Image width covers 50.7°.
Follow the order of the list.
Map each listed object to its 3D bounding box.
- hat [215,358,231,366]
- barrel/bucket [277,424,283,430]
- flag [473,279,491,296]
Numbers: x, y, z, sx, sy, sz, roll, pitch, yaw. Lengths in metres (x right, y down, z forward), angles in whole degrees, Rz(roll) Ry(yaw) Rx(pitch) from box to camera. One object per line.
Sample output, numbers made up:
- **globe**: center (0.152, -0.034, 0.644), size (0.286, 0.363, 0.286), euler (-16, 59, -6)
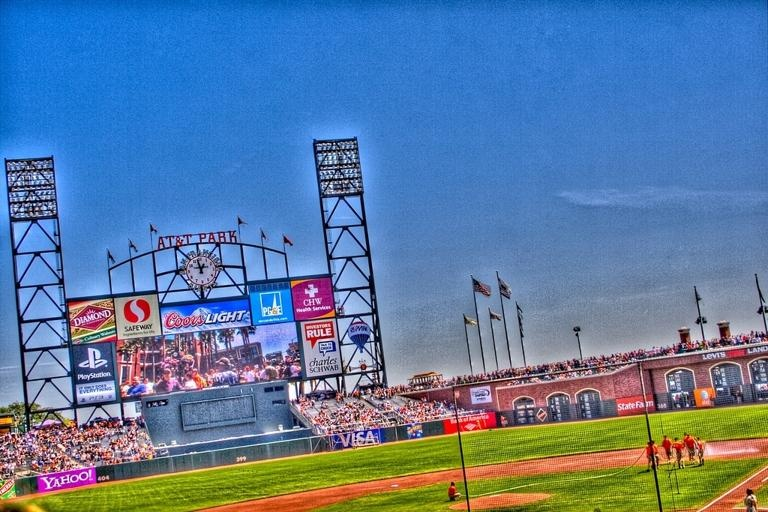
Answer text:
- **hat**: center (-13.535, 9.022, 68.765), size (0.907, 0.639, 0.640), euler (-4, 4, -2)
- **barrel/bucket**: center (-8.765, 14.581, 68.781), size (0.396, 0.640, 0.385), euler (-1, -2, 0)
- **flag**: center (9.216, 3.055, 76.834), size (1.510, 1.251, 3.299), euler (-7, 3, 5)
